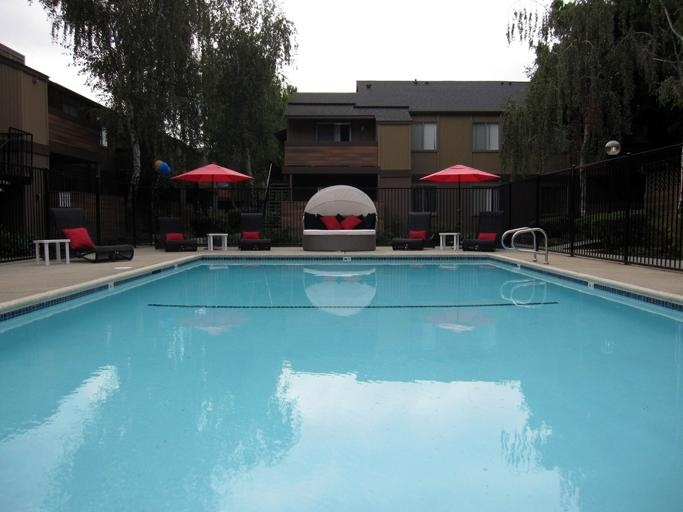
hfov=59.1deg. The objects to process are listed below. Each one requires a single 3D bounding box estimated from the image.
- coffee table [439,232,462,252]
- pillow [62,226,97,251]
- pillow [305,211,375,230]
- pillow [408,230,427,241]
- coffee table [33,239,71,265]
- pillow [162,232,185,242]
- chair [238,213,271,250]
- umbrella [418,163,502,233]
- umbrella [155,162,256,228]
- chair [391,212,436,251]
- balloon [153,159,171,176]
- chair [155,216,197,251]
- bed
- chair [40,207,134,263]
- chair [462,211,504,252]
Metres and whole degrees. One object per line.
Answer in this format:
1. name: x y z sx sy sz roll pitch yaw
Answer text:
1. coffee table: 3.215 -0.497 17.785 0.586 0.776 0.692 0 -1 7
2. pillow: -5.790 -0.392 13.150 0.534 0.401 0.866 -8 16 -34
3. pillow: -0.038 -1.088 17.958 2.101 0.484 1.229 1 14 4
4. pillow: 2.246 -0.603 17.383 0.498 0.212 0.720 -2 14 -8
5. coffee table: -6.166 -0.165 12.881 0.704 0.866 0.718 -1 -2 44
6. pillow: -4.675 -0.510 16.649 0.575 0.202 0.815 -5 15 -22
7. chair: -2.599 -0.555 17.332 0.886 1.483 1.093 4 -2 -28
8. umbrella: 3.600 -1.874 18.142 1.388 1.774 1.677 -1 -8 -4
9. umbrella: -3.694 -1.895 18.114 1.721 1.743 2.120 2 13 7
10. chair: 2.105 -0.734 17.352 0.767 1.322 1.318 1 0 23
11. balloon: -5.882 -2.973 19.699 0.469 0.610 1.105 -20 11 -15
12. chair: -4.682 -0.620 16.898 0.677 1.024 1.359 -2 3 -26
13. bed: -0.070 -1.145 17.737 2.151 2.595 1.963 0 -8 3
14. chair: -5.661 -0.470 13.615 1.621 1.246 0.961 -1 -4 -29
15. chair: 4.022 -0.732 16.885 0.699 1.285 1.039 1 -6 39
